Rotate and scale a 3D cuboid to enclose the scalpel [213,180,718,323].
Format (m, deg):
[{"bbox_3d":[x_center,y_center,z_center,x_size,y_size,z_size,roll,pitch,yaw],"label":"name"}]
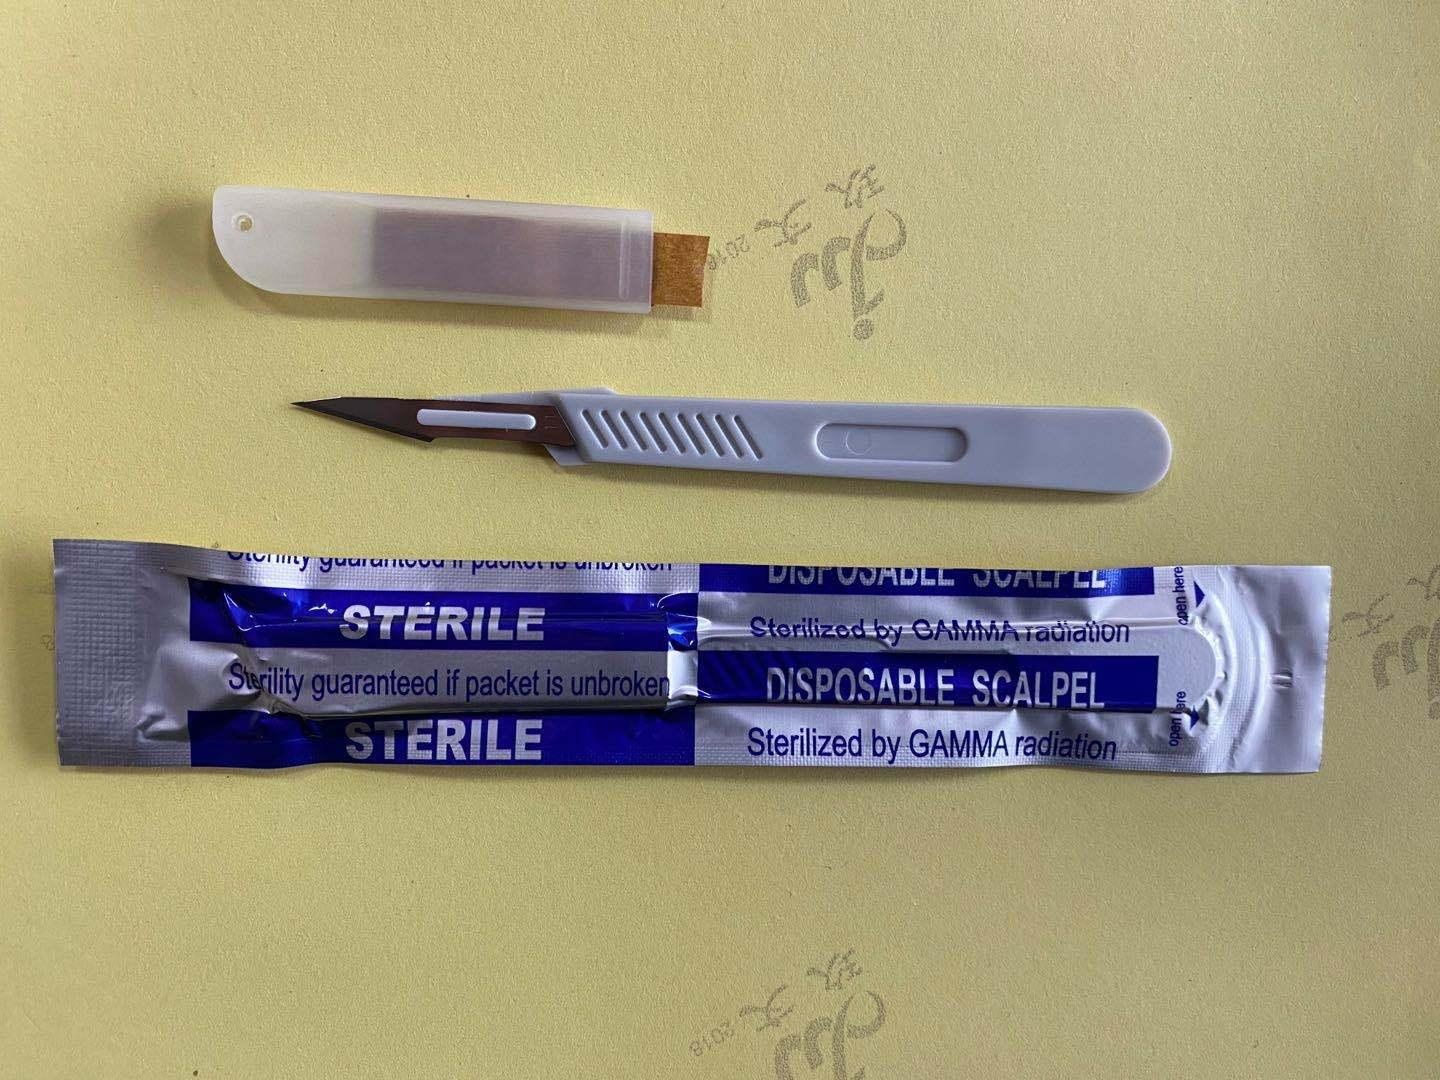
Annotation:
[{"bbox_3d":[-0.255,-0.253,2.087,0.385,0.104,0.046,7,30,-5],"label":"scalpel"}]
